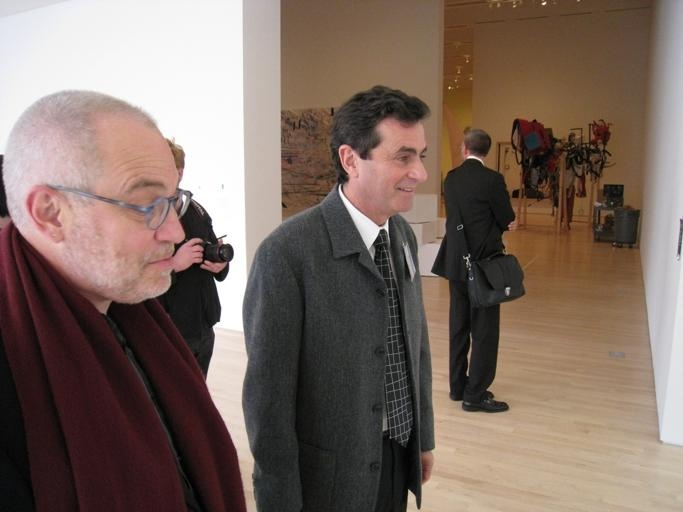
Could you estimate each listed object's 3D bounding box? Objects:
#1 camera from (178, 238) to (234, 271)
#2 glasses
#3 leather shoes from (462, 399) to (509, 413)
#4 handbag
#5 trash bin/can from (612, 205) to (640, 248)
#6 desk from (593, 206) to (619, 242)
[{"bbox_3d":[-0.733,-0.004,2.864,0.184,0.156,0.249,0,6,24],"label":"camera"},{"bbox_3d":[-0.459,-0.121,1.151,0.145,0.047,0.151,21,11,-3],"label":"glasses"},{"bbox_3d":[1.148,1.194,4.195,0.309,0.148,0.140,-3,10,4],"label":"leather shoes"},{"bbox_3d":[1.170,0.158,3.973,0.437,0.420,0.167,-9,-1,-19],"label":"handbag"},{"bbox_3d":[6.222,-0.633,11.582,0.457,0.857,0.512,5,12,25],"label":"trash bin/can"},{"bbox_3d":[6.162,-0.752,12.328,0.412,0.568,0.831,2,7,21],"label":"desk"}]
